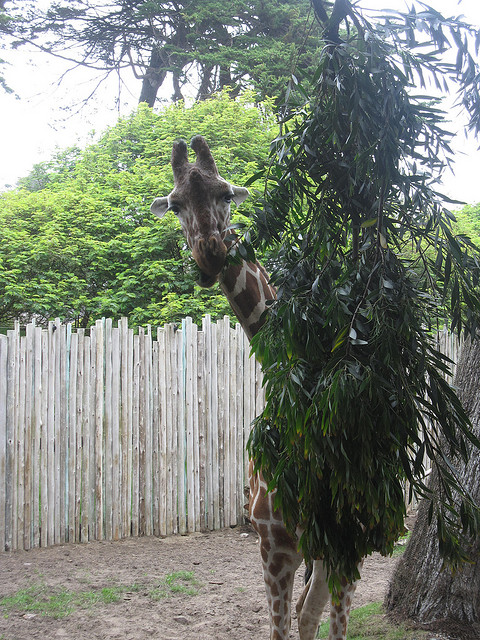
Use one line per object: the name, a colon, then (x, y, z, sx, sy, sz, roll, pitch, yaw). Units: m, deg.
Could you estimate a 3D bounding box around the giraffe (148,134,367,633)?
giraffe: (0.021, 0.554, 5.268, 1.001, 2.669, 3.493, 2, 1, -2)
